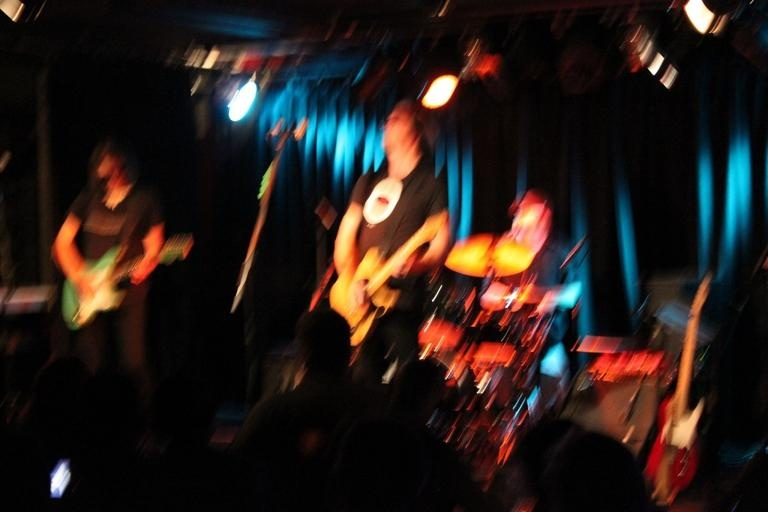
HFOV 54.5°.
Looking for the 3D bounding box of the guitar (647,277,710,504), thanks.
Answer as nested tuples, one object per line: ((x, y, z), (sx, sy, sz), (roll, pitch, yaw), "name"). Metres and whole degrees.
((1.988, 0.884, 4.905), (0.286, 1.489, 0.676), (10, 0, 26), "guitar")

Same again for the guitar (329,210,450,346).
((0.071, 0.179, 5.337), (0.389, 0.921, 0.131), (53, 13, 24), "guitar")

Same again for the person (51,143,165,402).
((-2.038, 0.077, 5.477), (0.722, 1.765, 0.255), (14, 7, 3), "person")

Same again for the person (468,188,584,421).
((1.036, 0.272, 5.189), (0.659, 1.485, 0.589), (11, 0, 15), "person")
